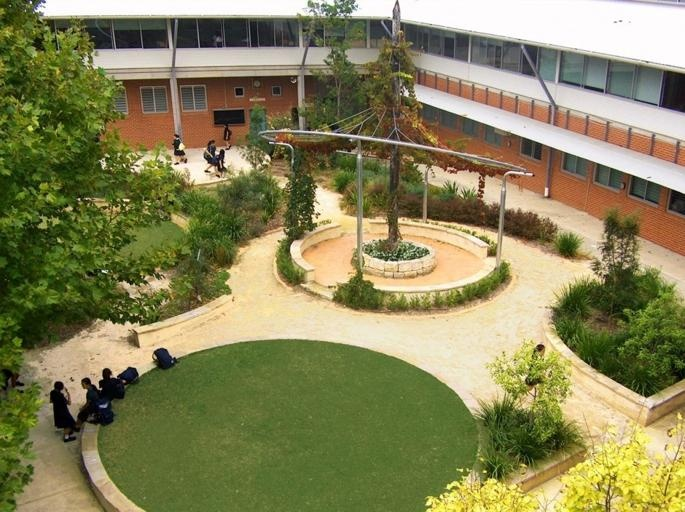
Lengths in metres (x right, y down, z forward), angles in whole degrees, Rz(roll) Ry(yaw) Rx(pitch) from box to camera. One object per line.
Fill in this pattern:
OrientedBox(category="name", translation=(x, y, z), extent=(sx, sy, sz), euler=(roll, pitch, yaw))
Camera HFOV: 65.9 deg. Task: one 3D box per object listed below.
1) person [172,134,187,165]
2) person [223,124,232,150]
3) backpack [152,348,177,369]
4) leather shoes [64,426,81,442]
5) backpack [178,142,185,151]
OrientedBox(category="person", translation=(-10.211, -6.694, 32.816), extent=(0.787, 1.608, 1.945), euler=(-7, 23, -16))
OrientedBox(category="person", translation=(-7.818, -8.018, 35.637), extent=(0.570, 1.534, 2.425), euler=(-4, 23, -10))
OrientedBox(category="backpack", translation=(-4.960, 2.796, 14.518), extent=(0.454, 0.200, 0.589), euler=(-22, 54, -42))
OrientedBox(category="leather shoes", translation=(-6.423, 4.190, 12.462), extent=(0.131, 0.307, 0.306), euler=(15, 34, 16))
OrientedBox(category="backpack", translation=(-9.907, -6.714, 32.377), extent=(0.431, 0.485, 0.485), euler=(-10, 33, -10))
